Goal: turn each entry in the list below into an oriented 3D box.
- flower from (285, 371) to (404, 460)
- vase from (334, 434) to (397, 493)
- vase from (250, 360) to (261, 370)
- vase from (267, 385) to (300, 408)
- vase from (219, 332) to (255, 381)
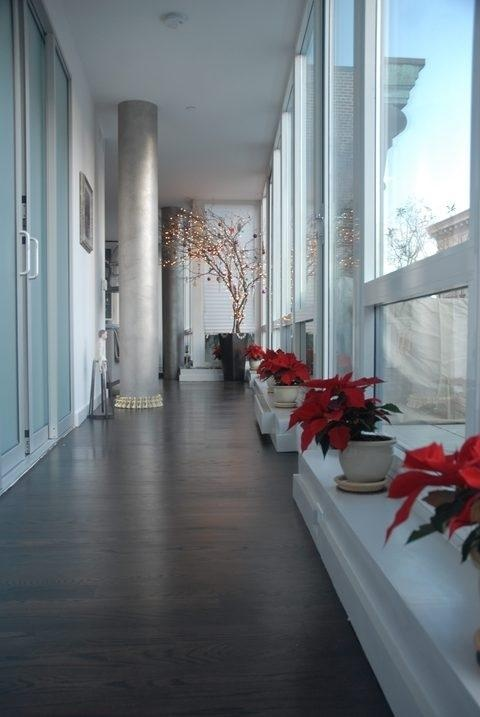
[{"bbox_3d":[0.244,0.155,1.354,0.147,0.188,0.110,-8,-23,-9],"label":"flower"},{"bbox_3d":[0.344,0.265,1.360,0.137,0.144,0.143,-3,-3,38],"label":"vase"},{"bbox_3d":[0.227,0.094,7.640,0.118,0.144,0.133,0,1,2],"label":"vase"},{"bbox_3d":[0.334,0.257,3.616,0.154,0.135,0.172,0,0,6],"label":"vase"},{"bbox_3d":[-0.090,-0.010,8.245,0.477,0.781,0.752,0,-3,-3],"label":"vase"}]
